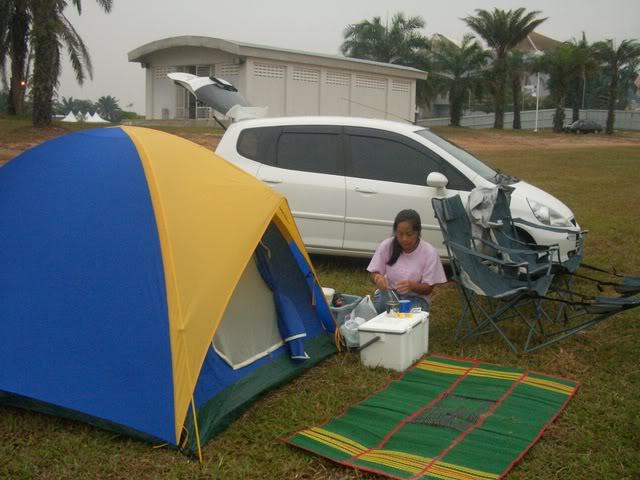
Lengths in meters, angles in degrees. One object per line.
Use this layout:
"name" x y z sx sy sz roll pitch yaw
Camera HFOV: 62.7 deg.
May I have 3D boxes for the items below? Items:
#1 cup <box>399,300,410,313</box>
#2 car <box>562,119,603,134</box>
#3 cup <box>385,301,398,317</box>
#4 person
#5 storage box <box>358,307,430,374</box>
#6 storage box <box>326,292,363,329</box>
"cup" 0.786 0.608 4.878 0.108 0.084 0.089 0 3 38
"car" 18.662 -7.840 37.011 2.850 0.878 1.279 3 11 -8
"cup" 0.678 0.649 4.975 0.106 0.087 0.115 0 3 0
"person" 0.787 0.266 5.275 0.822 1.037 0.796 15 24 41
"storage box" 0.669 0.788 4.833 0.467 0.349 0.730 1 6 24
"storage box" 0.246 0.725 5.388 0.309 0.166 0.403 0 2 8
